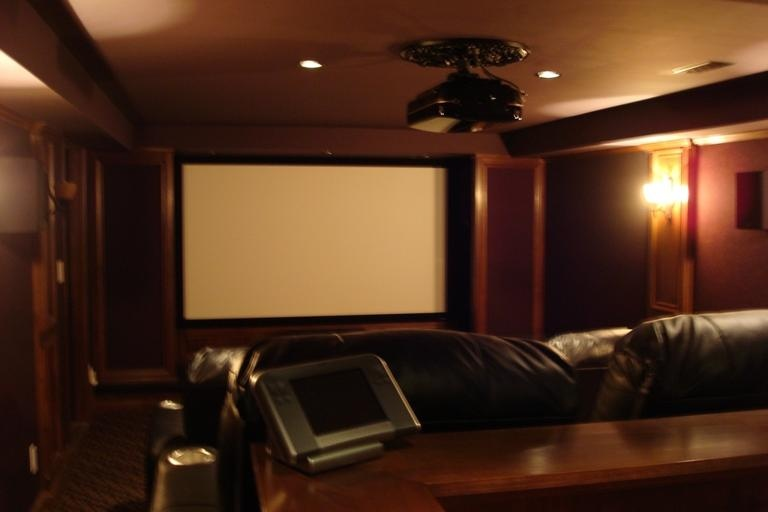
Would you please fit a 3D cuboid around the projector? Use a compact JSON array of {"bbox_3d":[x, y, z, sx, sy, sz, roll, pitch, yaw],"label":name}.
[{"bbox_3d":[0.584,-0.893,3.703,0.762,0.226,0.747,5,-2,-9],"label":"projector"}]
